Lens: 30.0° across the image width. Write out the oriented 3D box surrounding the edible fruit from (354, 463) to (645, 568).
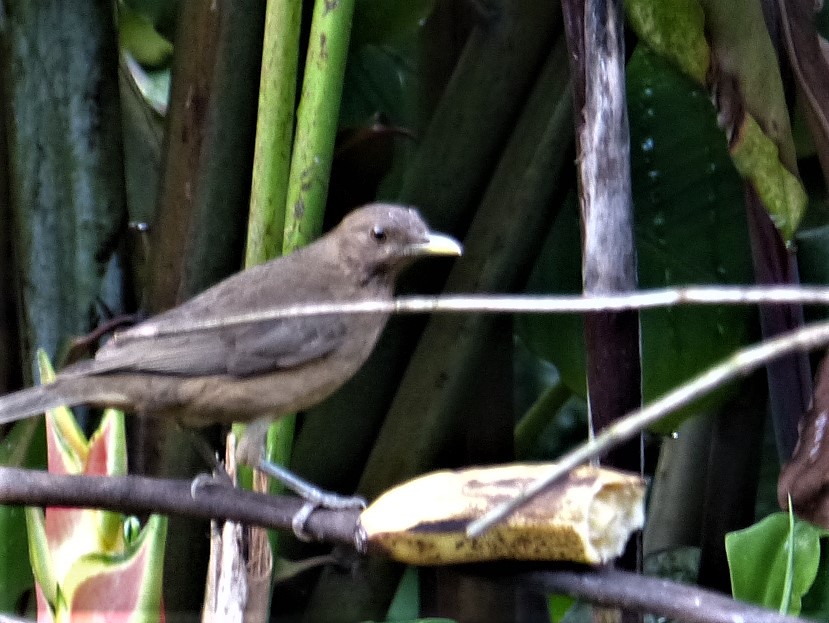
[{"bbox_3d":[0.140,0.332,2.489,0.362,0.143,0.200,-4,1,17],"label":"edible fruit"}]
